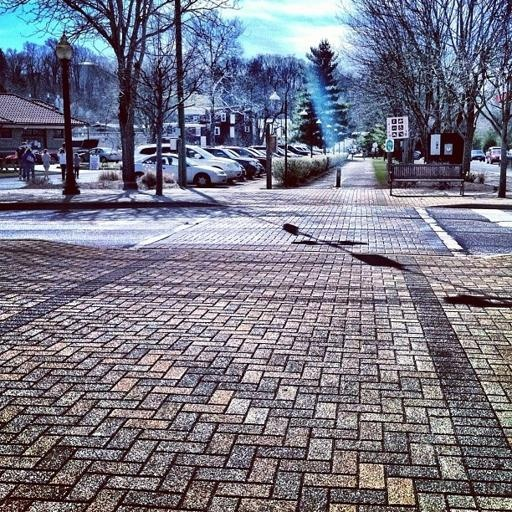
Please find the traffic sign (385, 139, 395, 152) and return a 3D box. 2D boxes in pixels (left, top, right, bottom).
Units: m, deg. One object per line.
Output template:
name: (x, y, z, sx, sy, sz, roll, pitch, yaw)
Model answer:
traffic sign: (7.391, -6.127, 25.764, 0.360, 0.756, 1.651, 2, 7, 18)
